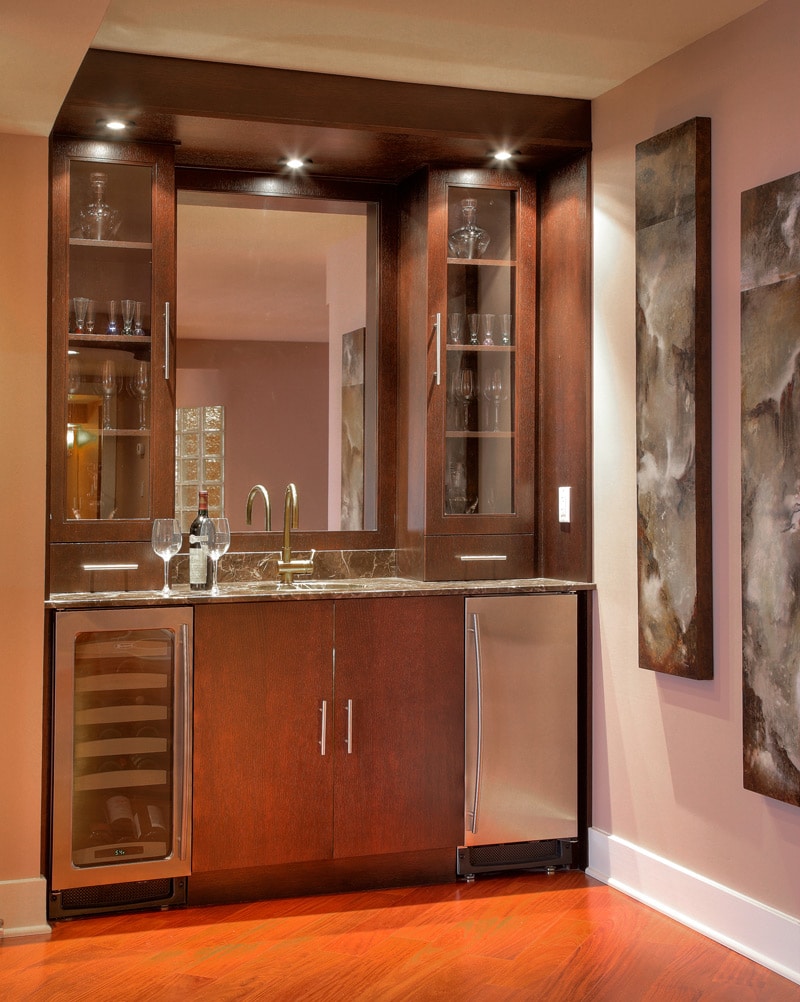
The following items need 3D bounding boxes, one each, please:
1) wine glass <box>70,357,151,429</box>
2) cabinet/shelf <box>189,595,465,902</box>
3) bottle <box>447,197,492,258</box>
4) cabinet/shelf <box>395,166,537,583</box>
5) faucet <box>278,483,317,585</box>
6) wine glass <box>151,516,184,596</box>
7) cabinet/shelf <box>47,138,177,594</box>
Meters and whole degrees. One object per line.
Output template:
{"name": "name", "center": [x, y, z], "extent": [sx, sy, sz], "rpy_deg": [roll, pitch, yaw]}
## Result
{"name": "wine glass", "center": [-0.928, -0.341, 2.801], "extent": [0.170, 0.216, 0.061], "rpy_deg": [2, -3, -35]}
{"name": "cabinet/shelf", "center": [-0.255, 0.738, 2.633], "extent": [0.636, 0.905, 0.281], "rpy_deg": [1, -3, -20]}
{"name": "bottle", "center": [0.227, -0.959, 3.201], "extent": [0.143, 0.264, 0.164], "rpy_deg": [1, -1, -20]}
{"name": "cabinet/shelf", "center": [0.252, -0.403, 3.121], "extent": [0.309, 1.444, 0.391], "rpy_deg": [-1, -2, 10]}
{"name": "faucet", "center": [-0.363, 0.109, 3.066], "extent": [0.127, 0.346, 0.308], "rpy_deg": [-2, 1, -6]}
{"name": "wine glass", "center": [-0.729, 0.170, 2.770], "extent": [0.097, 0.235, 0.402], "rpy_deg": [-2, 1, -14]}
{"name": "cabinet/shelf", "center": [-0.943, -0.512, 2.923], "extent": [0.312, 1.419, 0.204], "rpy_deg": [1, 35, -16]}
